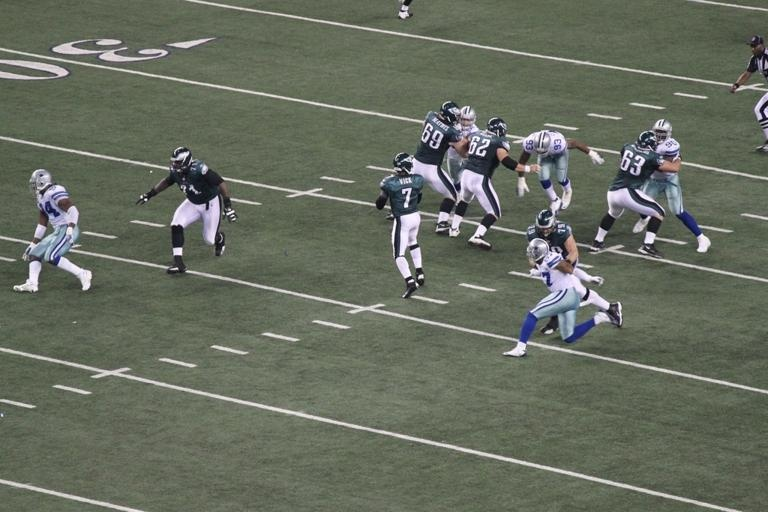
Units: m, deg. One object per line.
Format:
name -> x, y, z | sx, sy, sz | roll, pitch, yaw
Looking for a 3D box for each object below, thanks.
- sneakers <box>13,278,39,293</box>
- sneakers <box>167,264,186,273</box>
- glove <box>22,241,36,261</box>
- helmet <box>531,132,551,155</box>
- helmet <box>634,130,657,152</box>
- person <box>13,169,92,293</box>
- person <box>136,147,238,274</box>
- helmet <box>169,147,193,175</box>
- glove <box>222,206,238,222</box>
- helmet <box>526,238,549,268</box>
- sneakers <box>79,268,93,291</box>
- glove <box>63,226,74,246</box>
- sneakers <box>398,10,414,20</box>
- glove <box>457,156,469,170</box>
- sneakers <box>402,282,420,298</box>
sneakers -> -4.914, 0.420, 21.320 | 0.367, 0.125, 0.151 | 4, 11, -2
sneakers -> -2.934, 0.173, 21.907 | 0.263, 0.092, 0.097 | 0, 18, -10
glove -> -4.967, -0.071, 21.684 | 0.127, 0.338, 0.105 | 46, 12, -22
helmet -> 2.386, -1.692, 23.133 | 0.309, 0.284, 0.312 | 0, 51, 17
helmet -> 3.817, -1.681, 22.456 | 0.299, 0.265, 0.249 | 10, 16, 10
person -> -4.512, -0.362, 21.565 | 1.048, 1.639, 0.943 | 6, 17, -10
person -> -2.747, -0.701, 22.123 | 1.143, 1.765, 1.072 | 0, 19, -29
helmet -> -2.846, -1.360, 21.789 | 0.282, 0.342, 0.245 | 6, 16, -8
glove -> -2.178, -0.616, 21.953 | 0.278, 0.183, 0.078 | -6, 32, -2
helmet -> 2.016, -0.073, 20.180 | 0.283, 0.345, 0.303 | 10, 16, 4
sneakers -> -4.113, 0.318, 21.458 | 0.161, 0.271, 0.168 | -2, 8, 9
glove -> -4.321, -0.299, 21.372 | 0.206, 0.202, 0.087 | 9, 9, 31
sneakers -> 0.389, -4.966, 31.663 | 0.375, 0.190, 0.113 | -18, 42, -29
glove -> 1.196, -1.431, 23.626 | 0.104, 0.299, 0.117 | 38, 66, 16
sneakers -> 0.375, 0.459, 21.285 | 0.139, 0.117, 0.319 | 2, -24, -27
